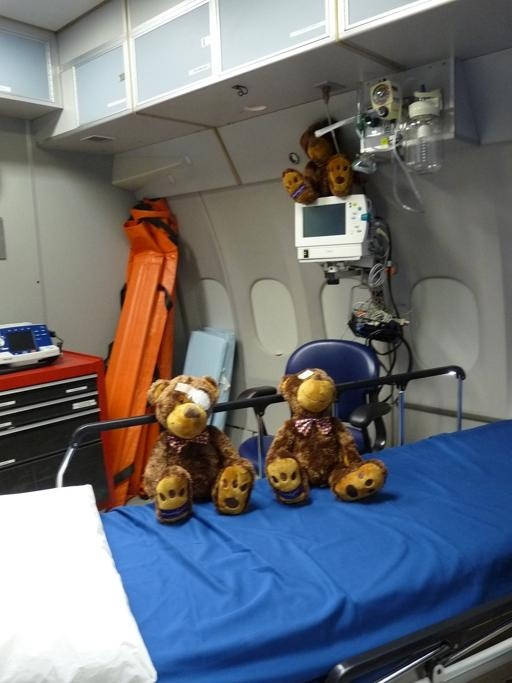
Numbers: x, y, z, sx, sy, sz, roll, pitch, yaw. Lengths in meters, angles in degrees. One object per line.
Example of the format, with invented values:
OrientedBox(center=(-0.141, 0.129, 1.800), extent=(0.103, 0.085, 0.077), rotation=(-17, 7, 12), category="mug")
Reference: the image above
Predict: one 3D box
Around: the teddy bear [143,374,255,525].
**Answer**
OrientedBox(center=(-0.205, 0.347, 1.852), extent=(0.448, 0.529, 0.444), rotation=(-2, -8, -18), category="teddy bear")

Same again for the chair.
OrientedBox(center=(0.235, 0.242, 2.922), extent=(0.805, 0.962, 0.656), rotation=(0, 1, 34), category="chair")

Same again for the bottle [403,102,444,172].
OrientedBox(center=(0.707, -0.880, 2.276), extent=(0.193, 0.287, 0.152), rotation=(8, 14, 35), category="bottle")

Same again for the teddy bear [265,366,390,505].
OrientedBox(center=(0.240, 0.327, 1.854), extent=(0.438, 0.427, 0.410), rotation=(1, 4, 17), category="teddy bear")

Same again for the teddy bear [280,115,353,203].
OrientedBox(center=(0.335, -0.980, 2.901), extent=(0.221, 0.434, 0.430), rotation=(-9, 15, -36), category="teddy bear")
